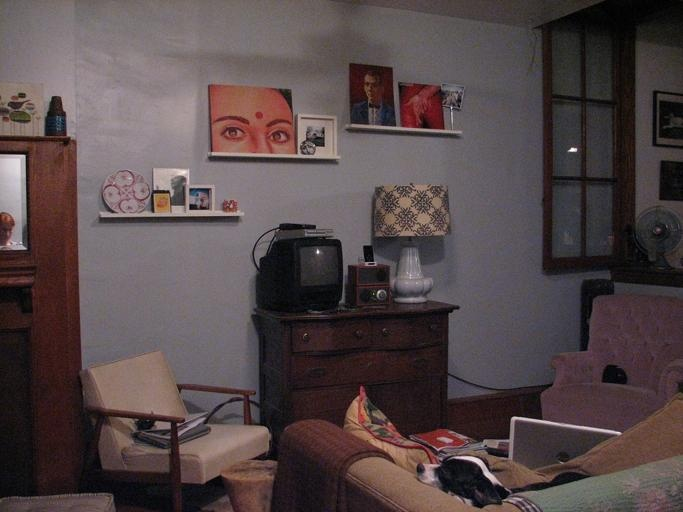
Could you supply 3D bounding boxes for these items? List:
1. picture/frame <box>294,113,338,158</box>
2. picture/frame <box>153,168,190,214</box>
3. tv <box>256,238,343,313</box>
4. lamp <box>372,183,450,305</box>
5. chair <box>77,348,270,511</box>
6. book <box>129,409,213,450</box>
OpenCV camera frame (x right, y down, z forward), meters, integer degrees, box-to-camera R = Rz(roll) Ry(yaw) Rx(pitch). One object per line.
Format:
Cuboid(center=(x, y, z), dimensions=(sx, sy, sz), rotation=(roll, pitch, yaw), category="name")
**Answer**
Cuboid(center=(-0.198, -0.860, 3.989), dimensions=(0.327, 0.334, 0.053), rotation=(-1, 5, -20), category="picture/frame")
Cuboid(center=(-1.148, -0.428, 3.699), dimensions=(0.309, 0.414, 0.043), rotation=(0, -1, -24), category="picture/frame")
Cuboid(center=(-0.268, 0.133, 3.850), dimensions=(0.497, 0.471, 0.465), rotation=(-2, -2, 41), category="tv")
Cuboid(center=(0.496, -0.094, 4.022), dimensions=(0.524, 0.846, 0.487), rotation=(-1, 6, -1), category="lamp")
Cuboid(center=(-1.003, 0.832, 3.329), dimensions=(0.984, 0.812, 0.829), rotation=(1, 4, 27), category="chair")
Cuboid(center=(-0.952, 0.969, 3.209), dimensions=(0.401, 0.149, 0.373), rotation=(4, 7, 38), category="book")
